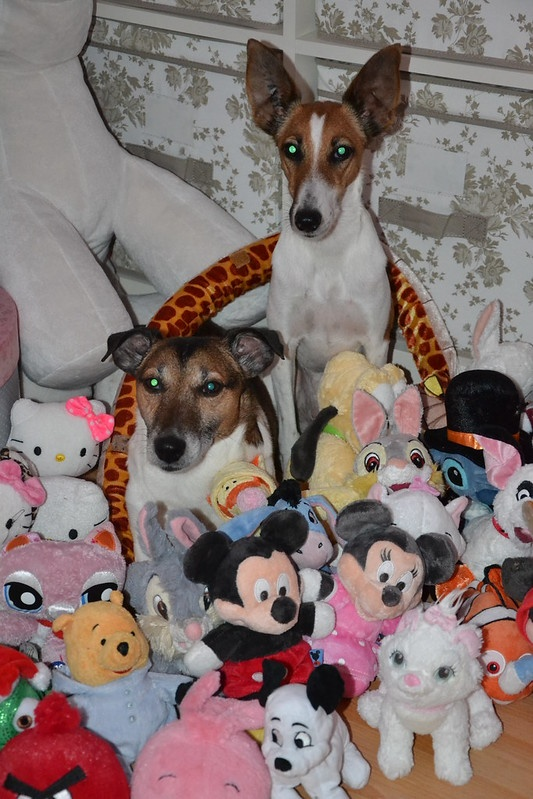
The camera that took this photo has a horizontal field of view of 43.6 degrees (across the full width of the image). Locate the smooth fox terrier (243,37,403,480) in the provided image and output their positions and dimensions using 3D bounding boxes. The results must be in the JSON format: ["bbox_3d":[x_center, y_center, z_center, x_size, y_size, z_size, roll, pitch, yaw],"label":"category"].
[{"bbox_3d":[0.153,-0.352,2.084,0.496,1.307,0.582,-3,40,-3],"label":"smooth fox terrier"}]

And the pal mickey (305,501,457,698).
[{"bbox_3d":[0.195,0.371,1.202,0.227,0.312,0.204,20,11,4],"label":"pal mickey"}]

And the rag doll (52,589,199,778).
[{"bbox_3d":[-0.254,0.518,1.204,0.289,0.295,0.215,0,-7,-34],"label":"rag doll"}]

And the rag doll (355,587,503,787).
[{"bbox_3d":[0.285,0.499,1.197,0.229,0.319,0.239,-10,22,-12],"label":"rag doll"}]

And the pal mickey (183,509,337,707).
[{"bbox_3d":[-0.018,0.371,1.149,0.237,0.175,0.337,-16,38,-29],"label":"pal mickey"}]
